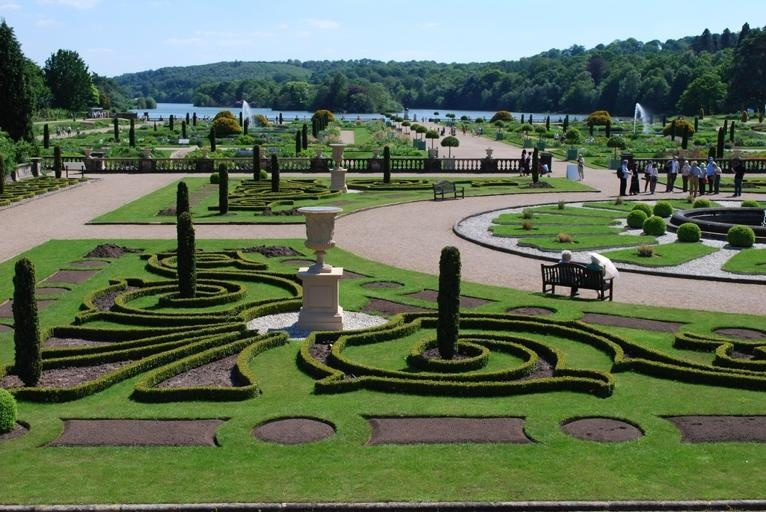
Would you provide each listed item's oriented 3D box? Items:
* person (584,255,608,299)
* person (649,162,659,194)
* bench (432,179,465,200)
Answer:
[{"bbox_3d":[5.729,0.551,21.922,0.581,1.141,0.457,10,17,34],"label":"person"},{"bbox_3d":[13.689,-3.950,41.523,0.370,1.483,1.418,5,14,16],"label":"person"},{"bbox_3d":[3.244,-3.303,40.984,0.611,0.673,1.688,8,12,42],"label":"bench"}]
